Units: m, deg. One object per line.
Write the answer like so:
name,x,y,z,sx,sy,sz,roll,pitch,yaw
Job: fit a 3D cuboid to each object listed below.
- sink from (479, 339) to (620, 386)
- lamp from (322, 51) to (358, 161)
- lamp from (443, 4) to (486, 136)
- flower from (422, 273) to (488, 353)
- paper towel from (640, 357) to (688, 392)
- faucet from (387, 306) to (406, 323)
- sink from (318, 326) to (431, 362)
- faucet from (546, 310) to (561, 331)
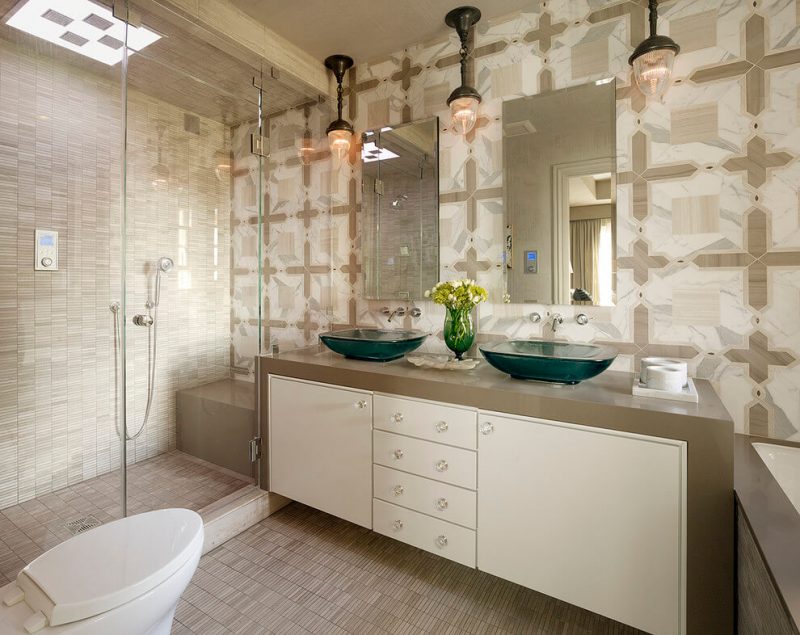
sink,0.703,0.217,2.726,0.608,0.165,0.496,0,4,17
lamp,-0.376,-1.285,3.494,0.183,0.630,0.298,-1,4,-5
lamp,0.336,-1.312,3.039,0.190,0.660,0.330,0,4,6
flower,0.298,-0.031,3.147,0.331,0.495,0.381,-3,3,-24
paper towel,1.149,0.249,2.472,0.197,0.120,0.203,1,4,27
faucet,-0.021,-0.015,3.386,0.122,0.058,0.045,-26,0,35
sink,-0.149,0.154,3.217,0.603,0.147,0.474,1,4,29
faucet,0.804,0.026,2.932,0.076,0.105,0.034,1,5,20
